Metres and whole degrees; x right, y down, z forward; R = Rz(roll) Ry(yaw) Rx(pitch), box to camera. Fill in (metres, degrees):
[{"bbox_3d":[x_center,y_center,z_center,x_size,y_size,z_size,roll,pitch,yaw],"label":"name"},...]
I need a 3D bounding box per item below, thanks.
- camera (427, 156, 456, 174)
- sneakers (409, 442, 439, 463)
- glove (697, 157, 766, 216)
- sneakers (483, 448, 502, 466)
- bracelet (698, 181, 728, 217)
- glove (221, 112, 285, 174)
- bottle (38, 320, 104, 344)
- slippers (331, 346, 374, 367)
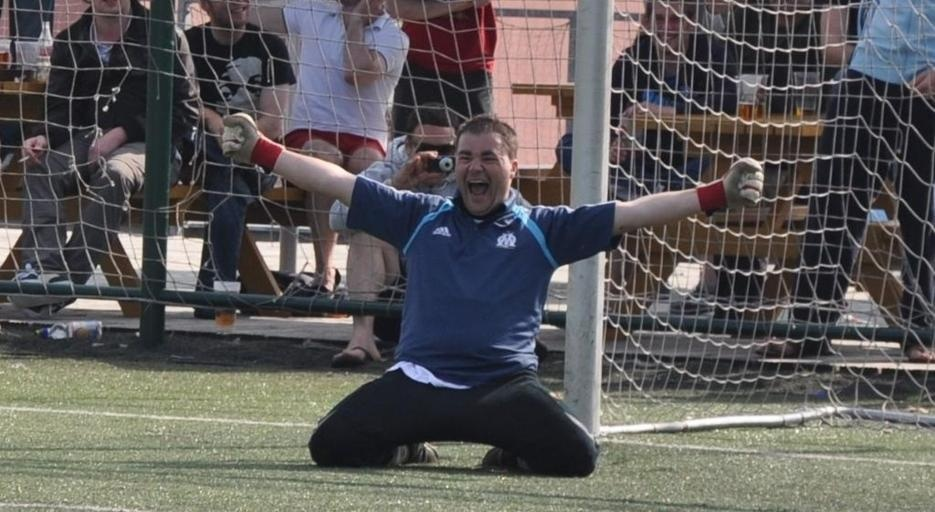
[{"bbox_3d":[-0.197,-0.697,11.312,0.212,0.128,0.119,0,4,-1],"label":"camera"},{"bbox_3d":[-0.281,1.258,9.714,0.177,0.111,0.123,3,2,0],"label":"sneakers"},{"bbox_3d":[1.676,-0.474,9.644,0.431,0.291,0.164,-11,27,15],"label":"glove"},{"bbox_3d":[0.156,1.287,9.723,0.139,0.128,0.084,-2,7,-1],"label":"sneakers"},{"bbox_3d":[1.586,-0.387,9.689,0.218,0.173,0.176,-4,-8,-9],"label":"bracelet"},{"bbox_3d":[-1.389,-0.774,9.836,0.424,0.325,0.175,13,20,-15],"label":"glove"},{"bbox_3d":[-3.095,0.577,11.692,0.402,0.162,0.191,-1,-4,-11],"label":"bottle"},{"bbox_3d":[-0.883,0.757,11.336,0.144,0.111,0.246,-14,-19,39],"label":"slippers"}]
